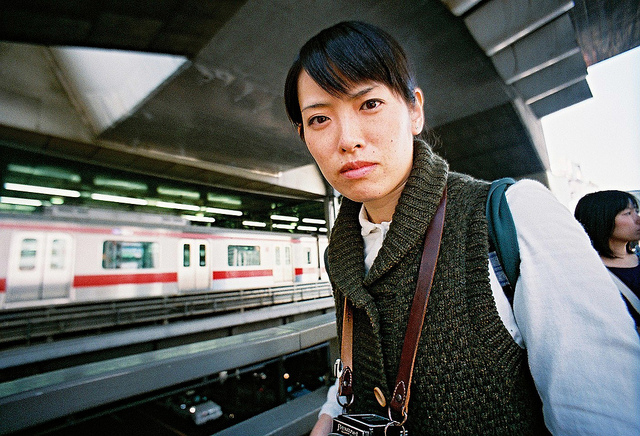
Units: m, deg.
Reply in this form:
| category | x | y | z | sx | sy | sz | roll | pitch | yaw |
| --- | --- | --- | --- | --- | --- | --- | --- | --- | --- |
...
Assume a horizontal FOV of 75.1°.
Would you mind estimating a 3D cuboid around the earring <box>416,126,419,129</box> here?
| category | x | y | z | sx | sy | sz | roll | pitch | yaw |
| --- | --- | --- | --- | --- | --- | --- | --- | --- | --- |
| earring | 0.783 | -0.730 | 3.350 | 0.013 | 0.023 | 0.012 | 7 | -32 | 1 |
